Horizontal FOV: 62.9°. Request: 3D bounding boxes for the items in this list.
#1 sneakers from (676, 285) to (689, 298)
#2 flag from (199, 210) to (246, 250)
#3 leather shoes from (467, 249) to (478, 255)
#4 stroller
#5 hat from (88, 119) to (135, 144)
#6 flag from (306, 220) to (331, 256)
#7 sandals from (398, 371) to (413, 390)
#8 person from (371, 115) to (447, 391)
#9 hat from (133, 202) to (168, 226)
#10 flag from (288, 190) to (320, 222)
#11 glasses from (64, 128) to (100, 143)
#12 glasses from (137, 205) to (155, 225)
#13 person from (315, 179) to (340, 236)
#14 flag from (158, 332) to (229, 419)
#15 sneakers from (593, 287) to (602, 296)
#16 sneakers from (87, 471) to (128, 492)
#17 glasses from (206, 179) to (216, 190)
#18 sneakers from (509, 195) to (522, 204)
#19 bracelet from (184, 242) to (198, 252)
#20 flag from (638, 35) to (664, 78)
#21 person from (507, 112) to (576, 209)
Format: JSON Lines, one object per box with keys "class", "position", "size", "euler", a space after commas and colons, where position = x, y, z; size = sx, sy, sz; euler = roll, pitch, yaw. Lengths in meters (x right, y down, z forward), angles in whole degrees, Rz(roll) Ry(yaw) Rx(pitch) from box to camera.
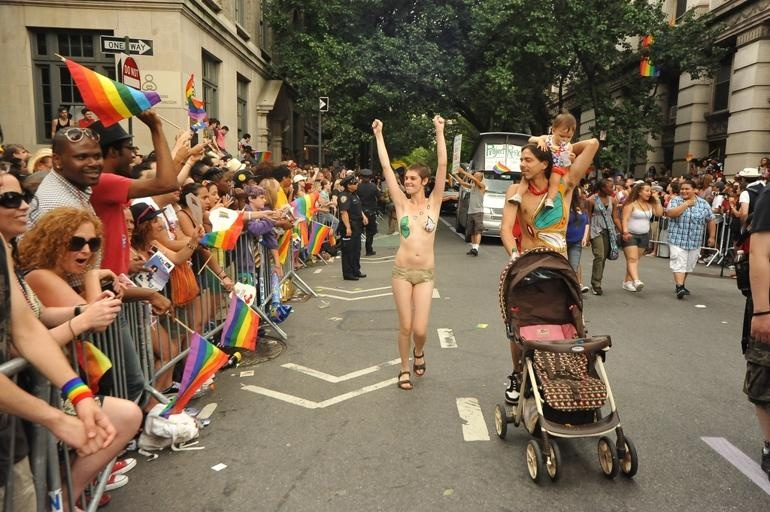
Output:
{"class": "sneakers", "position": [5.870, 0.726, 12.382], "size": [0.158, 0.182, 0.380], "euler": [-3, 11, 13]}
{"class": "flag", "position": [-2.135, -0.363, 8.295], "size": [0.408, 0.541, 0.513], "euler": [5, 6, -22]}
{"class": "leather shoes", "position": [2.386, -0.090, 16.957], "size": [0.262, 0.190, 0.215], "euler": [2, 9, 10]}
{"class": "stroller", "position": [1.854, 1.059, 6.505], "size": [1.132, 2.149, 1.451], "euler": [-3, 10, -19]}
{"class": "hat", "position": [-2.798, -1.281, 6.452], "size": [0.337, 0.135, 0.251], "euler": [-19, 11, -6]}
{"class": "flag", "position": [-1.466, -0.353, 13.814], "size": [0.432, 0.840, 1.672], "euler": [-1, 9, -7]}
{"class": "sandals", "position": [0.264, 1.575, 7.850], "size": [0.198, 0.181, 0.573], "euler": [-1, 0, 3]}
{"class": "person", "position": [0.346, -0.122, 8.217], "size": [0.873, 3.418, 1.478], "euler": [1, 9, 4]}
{"class": "hat", "position": [-2.747, -0.506, 7.323], "size": [0.302, 0.172, 0.197], "euler": [-3, 11, -16]}
{"class": "flag", "position": [-1.323, -0.798, 10.233], "size": [0.287, 0.442, 1.065], "euler": [2, 9, 6]}
{"class": "glasses", "position": [-2.909, -1.156, 6.026], "size": [0.240, 0.140, 0.239], "euler": [7, 11, 32]}
{"class": "glasses", "position": [-2.719, -0.465, 7.293], "size": [0.207, 0.105, 0.156], "euler": [-29, 19, 4]}
{"class": "person", "position": [-1.444, -1.176, 15.931], "size": [0.888, 1.263, 1.633], "euler": [0, 12, -2]}
{"class": "flag", "position": [-2.195, 1.392, 7.137], "size": [0.077, 0.742, 0.739], "euler": [20, 59, 27]}
{"class": "sneakers", "position": [4.272, 0.722, 12.546], "size": [0.085, 0.107, 0.243], "euler": [-3, -3, 3]}
{"class": "sneakers", "position": [-2.621, 2.172, 6.033], "size": [0.280, 0.113, 0.110], "euler": [-5, 8, -37]}
{"class": "glasses", "position": [-2.451, -0.999, 8.924], "size": [0.185, 0.196, 0.162], "euler": [2, 6, -9]}
{"class": "sneakers", "position": [1.472, -0.633, 7.022], "size": [0.148, 0.101, 0.073], "euler": [-4, 11, -28]}
{"class": "bracelet", "position": [-2.234, -0.092, 7.348], "size": [0.094, 0.053, 0.126], "euler": [-9, -2, -1]}
{"class": "flag", "position": [11.279, -8.548, 26.729], "size": [0.726, 1.746, 2.135], "euler": [4, 10, 21]}
{"class": "person", "position": [1.904, -1.097, 7.206], "size": [0.564, 1.089, 0.604], "euler": [12, 16, -5]}
